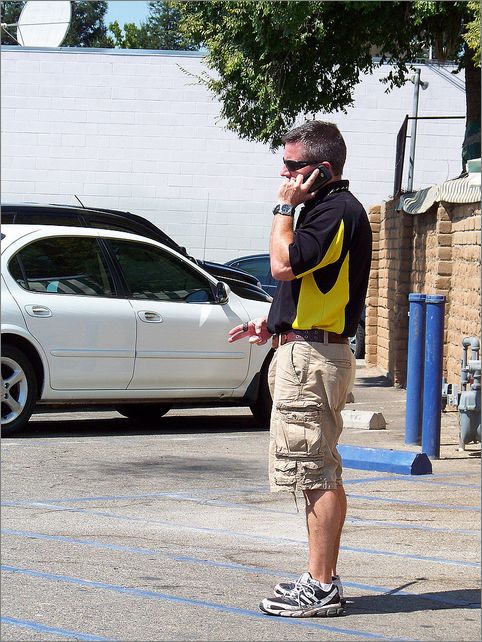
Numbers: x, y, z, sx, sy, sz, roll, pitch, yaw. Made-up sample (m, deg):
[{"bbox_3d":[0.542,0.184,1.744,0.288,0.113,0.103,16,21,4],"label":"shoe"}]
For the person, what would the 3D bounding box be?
[{"bbox_3d":[0.259,0.145,3.906,0.377,1.763,0.463,3,5,5],"label":"person"}]

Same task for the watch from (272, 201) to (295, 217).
[{"bbox_3d":[0.159,-0.388,3.873,0.073,0.041,0.068,1,-12,-10],"label":"watch"}]

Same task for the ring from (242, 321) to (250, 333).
[{"bbox_3d":[0.020,0.027,4.540,0.030,0.036,0.015,0,18,5],"label":"ring"}]

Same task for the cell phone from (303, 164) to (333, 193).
[{"bbox_3d":[0.285,-0.508,3.878,0.109,0.062,0.108,-38,15,-18],"label":"cell phone"}]

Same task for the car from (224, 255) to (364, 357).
[{"bbox_3d":[1.003,-0.369,17.997,2.596,1.229,1.369,1,-1,-15],"label":"car"}]

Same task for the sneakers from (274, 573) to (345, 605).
[{"bbox_3d":[0.260,0.933,3.869,0.299,0.118,0.096,9,-7,-7],"label":"sneakers"}]

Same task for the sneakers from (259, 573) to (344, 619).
[{"bbox_3d":[0.214,0.968,3.846,0.330,0.143,0.125,3,-3,-7],"label":"sneakers"}]
